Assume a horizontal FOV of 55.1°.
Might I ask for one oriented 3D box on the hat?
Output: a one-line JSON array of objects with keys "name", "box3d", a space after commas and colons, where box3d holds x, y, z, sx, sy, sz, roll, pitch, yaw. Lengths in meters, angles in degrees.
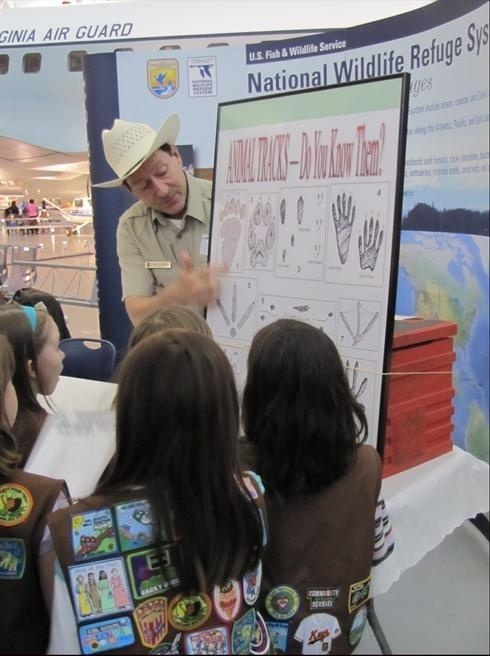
[{"name": "hat", "box3d": [-0.422, -0.806, 2.000, 0.350, 0.141, 0.312, -51, 12, -30]}]
